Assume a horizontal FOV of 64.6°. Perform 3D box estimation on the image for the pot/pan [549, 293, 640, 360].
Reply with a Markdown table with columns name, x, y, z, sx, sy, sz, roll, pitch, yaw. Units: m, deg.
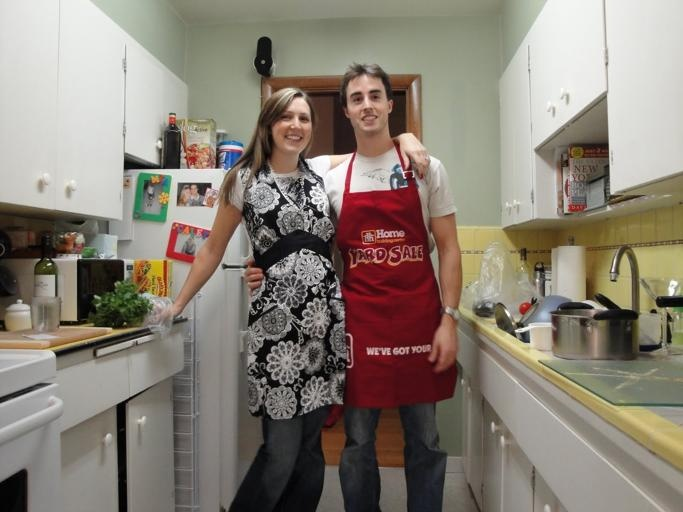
| name | x | y | z | sx | sy | sz | roll | pitch | yaw |
| --- | --- | --- | --- | --- | --- | --- | --- | --- | --- |
| pot/pan | 0.880 | 0.269 | 1.872 | 0.277 | 0.178 | 0.114 | 1 | 2 | 26 |

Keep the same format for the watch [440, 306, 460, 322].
| name | x | y | z | sx | sy | sz | roll | pitch | yaw |
| --- | --- | --- | --- | --- | --- | --- | --- | --- | --- |
| watch | 0.441 | 0.231 | 2.162 | 0.055 | 0.065 | 0.058 | 18 | -10 | 15 |

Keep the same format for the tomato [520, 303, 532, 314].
| name | x | y | z | sx | sy | sz | roll | pitch | yaw |
| --- | --- | --- | --- | --- | --- | --- | --- | --- | --- |
| tomato | 0.876 | 0.249 | 2.552 | 0.046 | 0.049 | 0.049 | -15 | 16 | 0 |

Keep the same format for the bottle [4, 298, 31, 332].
| name | x | y | z | sx | sy | sz | roll | pitch | yaw |
| --- | --- | --- | --- | --- | --- | --- | --- | --- | --- |
| bottle | -1.374 | 0.246 | 2.291 | 0.105 | 0.124 | 0.109 | -2 | 5 | -32 |

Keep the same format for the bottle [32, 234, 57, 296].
| name | x | y | z | sx | sy | sz | roll | pitch | yaw |
| --- | --- | --- | --- | --- | --- | --- | --- | --- | --- |
| bottle | -1.314 | 0.043 | 2.394 | 0.093 | 0.269 | 0.231 | -1 | 2 | -28 |

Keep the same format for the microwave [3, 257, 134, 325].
| name | x | y | z | sx | sy | sz | roll | pitch | yaw |
| --- | --- | --- | --- | --- | --- | --- | --- | --- | --- |
| microwave | -1.287 | 0.072 | 2.515 | 0.282 | 0.285 | 0.420 | -1 | 3 | 3 |

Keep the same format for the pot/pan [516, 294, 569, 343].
| name | x | y | z | sx | sy | sz | roll | pitch | yaw |
| --- | --- | --- | --- | --- | --- | --- | --- | --- | --- |
| pot/pan | 0.802 | 0.225 | 2.201 | 0.209 | 0.231 | 0.161 | 10 | 3 | 9 |

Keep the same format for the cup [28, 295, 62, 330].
| name | x | y | z | sx | sy | sz | roll | pitch | yaw |
| --- | --- | --- | --- | --- | --- | --- | --- | --- | --- |
| cup | -1.239 | 0.242 | 2.265 | 0.092 | 0.144 | 0.111 | 0 | 2 | 6 |

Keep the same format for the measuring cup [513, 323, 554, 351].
| name | x | y | z | sx | sy | sz | roll | pitch | yaw |
| --- | --- | --- | --- | --- | --- | --- | --- | --- | --- |
| measuring cup | 0.741 | 0.312 | 2.051 | 0.104 | 0.077 | 0.071 | -4 | 3 | 3 |

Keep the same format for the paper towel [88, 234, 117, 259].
| name | x | y | z | sx | sy | sz | roll | pitch | yaw |
| --- | --- | --- | --- | --- | --- | --- | --- | --- | --- |
| paper towel | -1.204 | -0.049 | 2.763 | 0.142 | 0.121 | 0.160 | 2 | 3 | 43 |

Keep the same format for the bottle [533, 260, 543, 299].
| name | x | y | z | sx | sy | sz | roll | pitch | yaw |
| --- | --- | --- | --- | --- | --- | --- | --- | --- | --- |
| bottle | 1.175 | 0.136 | 3.183 | 0.060 | 0.182 | 0.218 | 0 | 2 | 18 |
